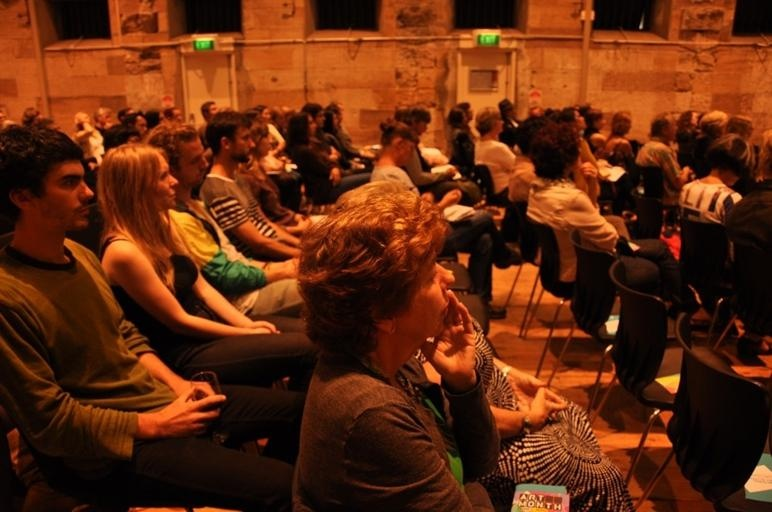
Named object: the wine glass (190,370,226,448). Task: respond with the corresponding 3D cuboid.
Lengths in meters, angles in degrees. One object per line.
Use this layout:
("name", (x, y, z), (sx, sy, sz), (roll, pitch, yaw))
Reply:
("wine glass", (-0.804, 0.703, 2.941), (0.143, 0.351, 0.194), (-5, 13, -30))

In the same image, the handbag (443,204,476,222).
("handbag", (0.624, -0.373, 5.482), (0.321, 0.087, 0.318), (-6, 15, -8))
